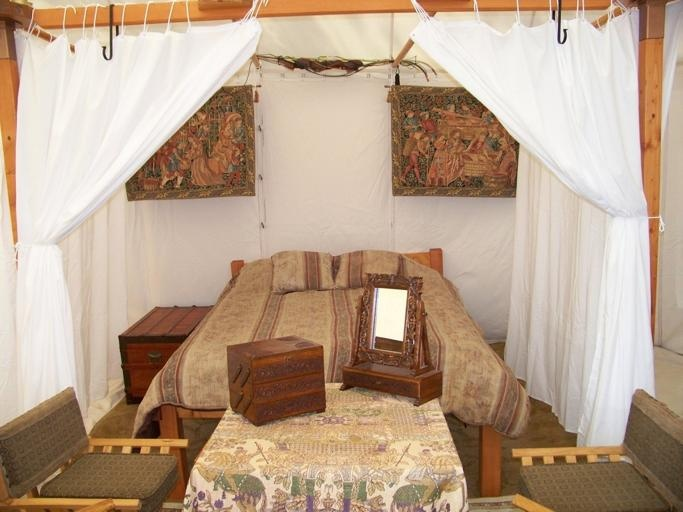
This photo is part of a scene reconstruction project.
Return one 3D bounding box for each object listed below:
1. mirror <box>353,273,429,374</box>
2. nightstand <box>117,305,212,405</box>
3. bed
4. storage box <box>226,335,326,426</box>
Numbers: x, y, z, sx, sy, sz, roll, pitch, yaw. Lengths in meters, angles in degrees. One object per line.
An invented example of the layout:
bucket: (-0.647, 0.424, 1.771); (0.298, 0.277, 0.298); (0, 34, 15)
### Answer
mirror: (0.281, 0.382, 3.009); (0.400, 0.550, 0.249); (3, 8, 28)
nightstand: (-1.670, 0.923, 5.109); (0.661, 0.661, 0.941); (0, 7, 0)
bed: (-0.334, 0.605, 4.675); (1.872, 0.991, 2.349); (-1, 5, 2)
storage box: (-0.359, 0.668, 2.855); (0.430, 0.383, 0.339); (-5, 7, -34)
